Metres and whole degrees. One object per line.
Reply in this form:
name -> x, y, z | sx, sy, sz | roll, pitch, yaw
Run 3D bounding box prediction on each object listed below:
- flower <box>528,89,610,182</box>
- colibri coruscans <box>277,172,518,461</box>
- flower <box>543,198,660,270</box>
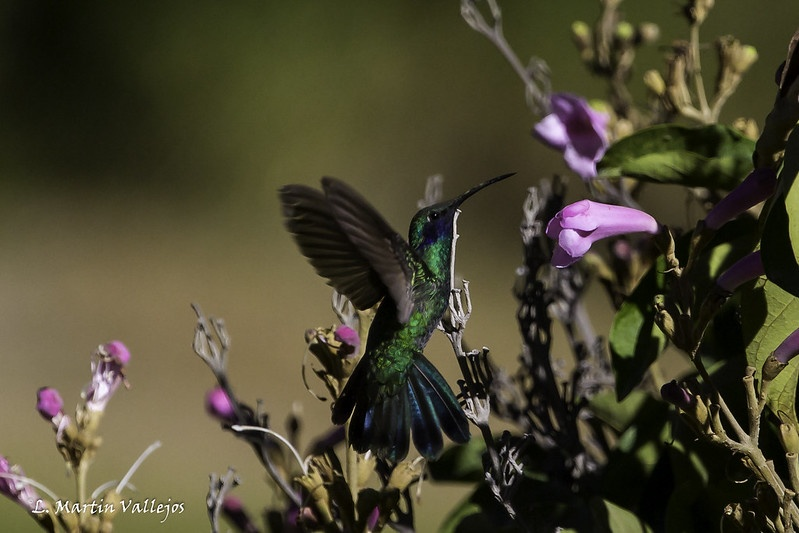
flower -> 0.284, -0.214, 1.909 | 0.111, 0.121, 0.093 | 21, -53, -32
colibri coruscans -> -0.006, 0.077, 2.010 | 0.369, 0.464, 0.277 | -8, 3, 19
flower -> 0.311, -0.061, 1.841 | 0.138, 0.125, 0.122 | -4, -79, -22
